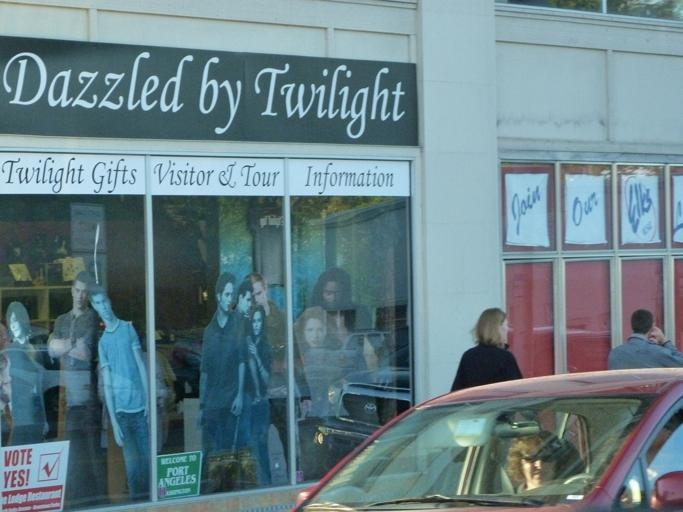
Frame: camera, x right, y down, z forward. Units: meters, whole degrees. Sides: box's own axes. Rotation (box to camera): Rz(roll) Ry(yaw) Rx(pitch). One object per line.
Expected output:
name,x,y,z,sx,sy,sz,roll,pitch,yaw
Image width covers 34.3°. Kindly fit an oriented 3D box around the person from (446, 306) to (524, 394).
person,1.567,1.043,12.527,1.027,1.315,0.459,2,7,39
